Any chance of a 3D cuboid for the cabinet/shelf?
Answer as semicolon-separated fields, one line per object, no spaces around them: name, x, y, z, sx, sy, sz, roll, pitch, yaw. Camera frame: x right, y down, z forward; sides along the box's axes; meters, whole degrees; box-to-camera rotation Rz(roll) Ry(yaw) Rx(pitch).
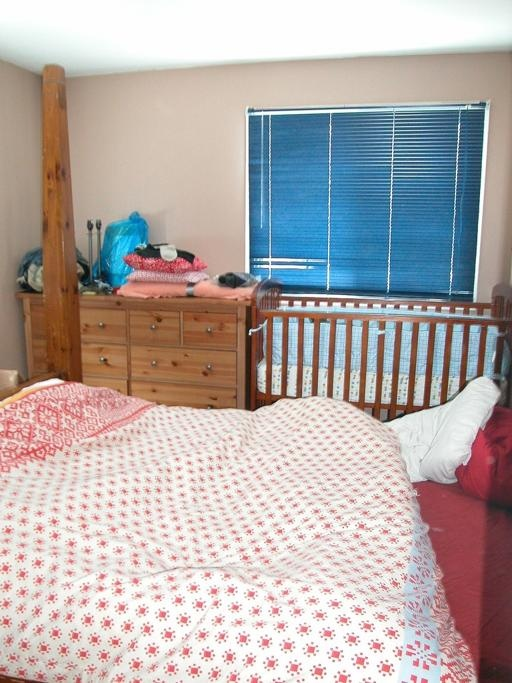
cabinet/shelf;-0.528;0.027;2.694;0.646;0.572;0.251;3;11;15
